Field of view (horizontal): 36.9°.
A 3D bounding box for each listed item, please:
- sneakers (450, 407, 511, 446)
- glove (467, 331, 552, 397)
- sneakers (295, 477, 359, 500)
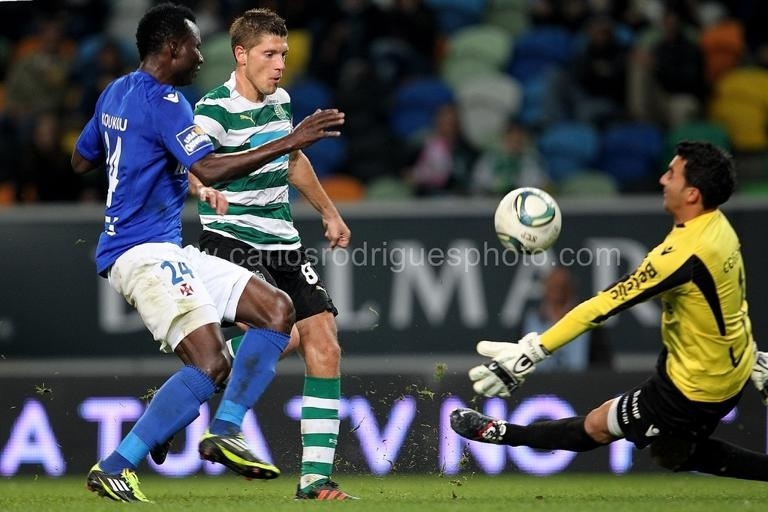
[{"bbox_3d":[0.749,1.358,9.105,0.403,0.239,0.167,8,-5,-2],"label":"sneakers"},{"bbox_3d":[0.950,0.874,8.765,0.582,0.519,0.212,-1,17,3],"label":"glove"},{"bbox_3d":[-0.425,1.805,8.878,0.497,0.193,0.174,0,-20,8],"label":"sneakers"}]
